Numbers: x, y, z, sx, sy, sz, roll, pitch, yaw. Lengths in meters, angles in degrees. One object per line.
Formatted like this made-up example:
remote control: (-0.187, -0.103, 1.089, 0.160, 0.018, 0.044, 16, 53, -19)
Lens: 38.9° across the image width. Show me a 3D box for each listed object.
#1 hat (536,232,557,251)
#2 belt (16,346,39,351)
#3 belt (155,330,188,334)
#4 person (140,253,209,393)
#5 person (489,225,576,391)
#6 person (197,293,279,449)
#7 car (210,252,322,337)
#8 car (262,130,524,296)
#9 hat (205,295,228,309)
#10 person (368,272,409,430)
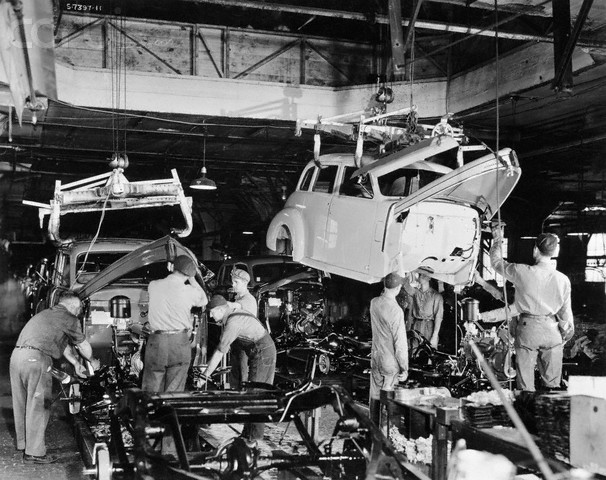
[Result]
hat: (2.882, 0.053, 10.140, 0.169, 0.249, 0.236, 6, -18, -13)
belt: (-3.294, 1.292, 10.246, 0.248, 0.044, 0.050, 2, 0, 5)
belt: (-1.593, 1.123, 10.426, 0.415, 0.045, 0.077, 2, 0, -19)
person: (-1.605, 1.013, 10.497, 0.662, 1.656, 0.411, 2, 0, -11)
person: (2.782, 0.847, 10.113, 0.759, 1.668, 0.419, 2, 0, 19)
person: (-0.758, 1.266, 10.532, 0.980, 1.551, 0.740, 2, 0, -20)
car: (-0.744, 0.929, 14.974, 1.057, 0.975, 1.876, 1, 1, -31)
car: (1.295, -0.290, 12.293, 1.673, 1.718, 3.498, 3, -1, -37)
hat: (-1.065, 0.783, 10.840, 0.266, 0.216, 0.382, -5, -2, -21)
person: (1.056, 1.217, 10.754, 0.564, 1.629, 0.296, 2, 0, 42)
